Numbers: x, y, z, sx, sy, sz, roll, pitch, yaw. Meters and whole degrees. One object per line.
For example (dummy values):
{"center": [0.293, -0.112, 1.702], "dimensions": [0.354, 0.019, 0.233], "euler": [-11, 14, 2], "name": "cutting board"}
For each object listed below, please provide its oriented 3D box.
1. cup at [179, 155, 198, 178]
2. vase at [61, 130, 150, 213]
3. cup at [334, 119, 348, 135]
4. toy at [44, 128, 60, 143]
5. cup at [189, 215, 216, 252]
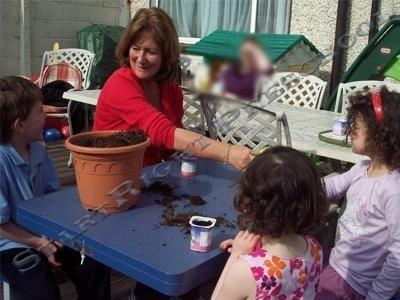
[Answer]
{"center": [-0.070, 0.091, 1.929], "dimensions": [0.099, 0.113, 0.100], "euler": [1, 18, 0], "name": "cup"}
{"center": [-0.409, 0.066, 1.528], "dimensions": [0.363, 0.296, 0.373], "euler": [9, 22, 29], "name": "vase"}
{"center": [0.945, -0.155, 2.261], "dimensions": [0.086, 0.125, 0.118], "euler": [14, 17, 29], "name": "cup"}
{"center": [-2.178, -0.223, 4.896], "dimensions": [0.184, 0.232, 0.189], "euler": [2, -7, -33], "name": "toy"}
{"center": [0.001, 0.327, 1.261], "dimensions": [0.116, 0.094, 0.110], "euler": [1, -4, 0], "name": "cup"}
